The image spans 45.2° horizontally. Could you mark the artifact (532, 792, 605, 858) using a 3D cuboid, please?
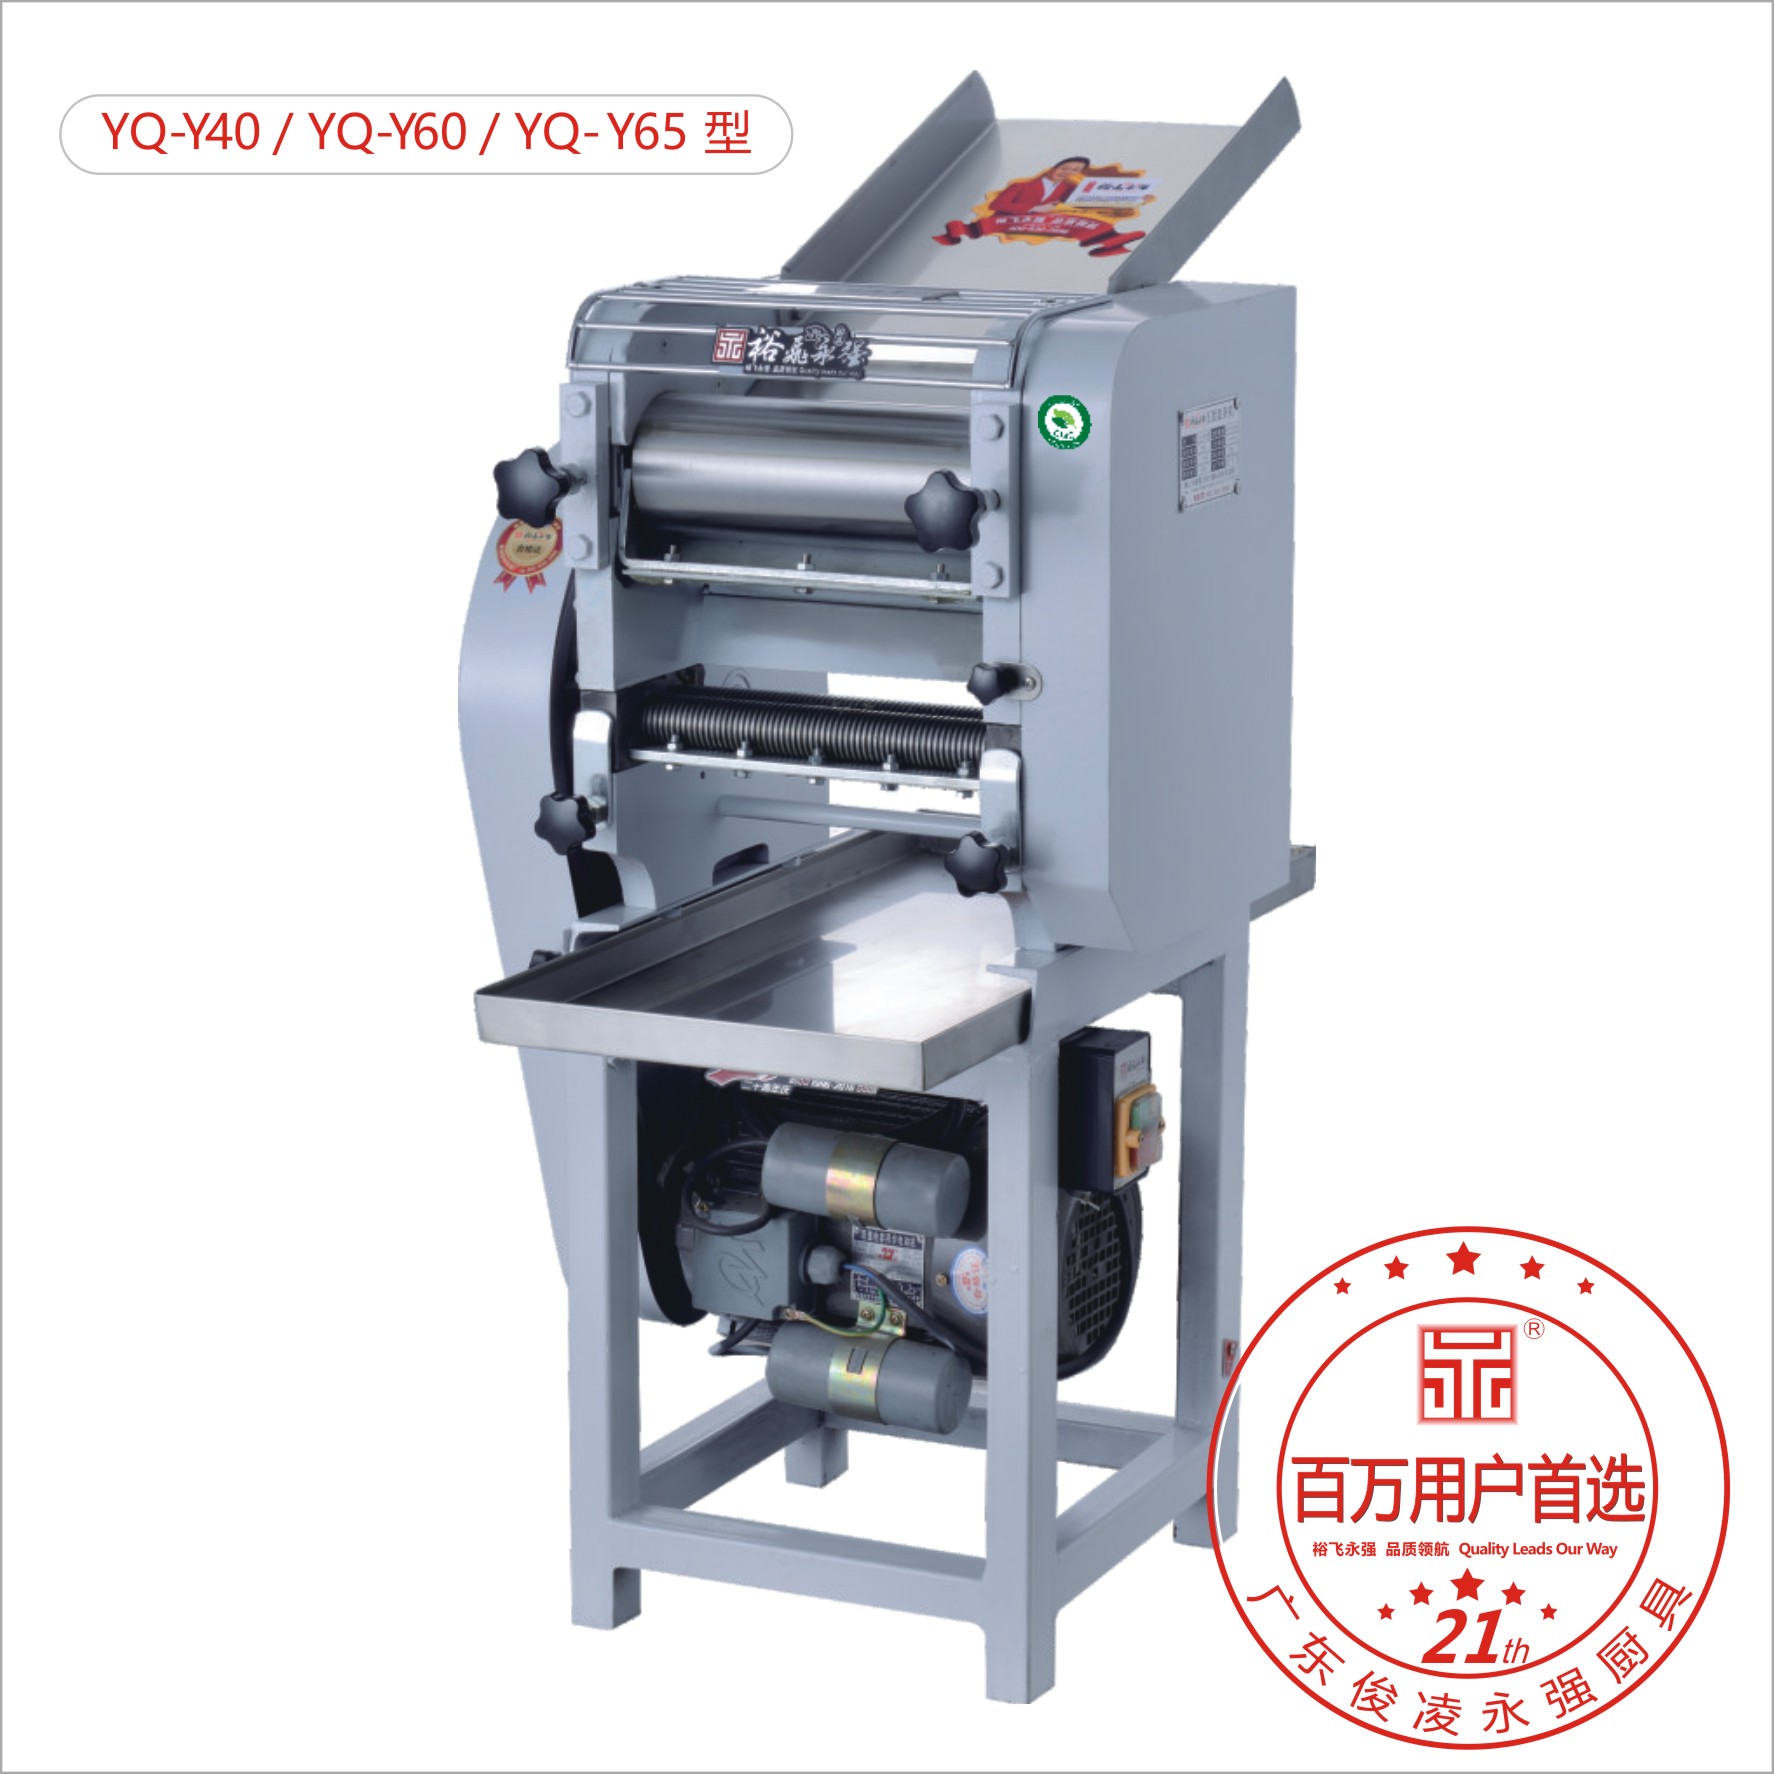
[{"bbox_3d":[-0.405,-0.071,2.714,0.090,0.064,0.078,17,-56,-24],"label":"artifact"}]

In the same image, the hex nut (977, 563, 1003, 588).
[{"bbox_3d":[0.114,-0.343,2.414,0.028,0.007,0.026,6,-88,32],"label":"hex nut"}]

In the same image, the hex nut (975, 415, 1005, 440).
[{"bbox_3d":[0.113,-0.505,2.384,0.030,0.010,0.024,5,-90,19],"label":"hex nut"}]

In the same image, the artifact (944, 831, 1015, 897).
[{"bbox_3d":[0.108,-0.023,2.512,0.082,0.026,0.072,10,-69,18],"label":"artifact"}]

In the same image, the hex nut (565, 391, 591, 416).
[{"bbox_3d":[-0.379,-0.584,2.623,0.031,0.016,0.029,-2,-80,32],"label":"hex nut"}]

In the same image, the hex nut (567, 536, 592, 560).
[{"bbox_3d":[-0.381,-0.412,2.648,0.016,0.032,0.030,-7,-87,-45],"label":"hex nut"}]
